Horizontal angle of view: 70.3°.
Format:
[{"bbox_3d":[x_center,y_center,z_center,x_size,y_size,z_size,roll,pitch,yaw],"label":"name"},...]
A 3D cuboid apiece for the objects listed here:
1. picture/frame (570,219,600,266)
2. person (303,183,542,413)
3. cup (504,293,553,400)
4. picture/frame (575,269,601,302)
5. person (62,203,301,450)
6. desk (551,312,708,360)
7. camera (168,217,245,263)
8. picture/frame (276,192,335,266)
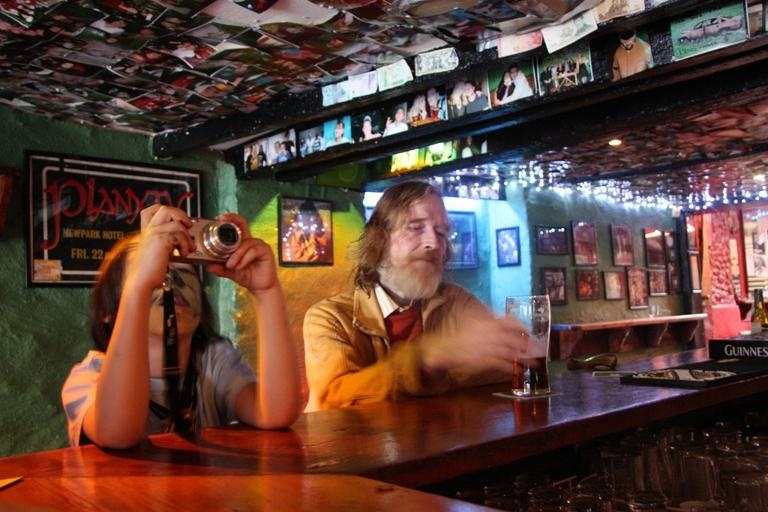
[{"bbox_3d":[3.070,-0.202,8.387,0.785,0.816,0.064,6,-14,-40],"label":"picture/frame"},{"bbox_3d":[0.071,0.329,2.887,0.985,1.023,1.336,0,-24,-23],"label":"person"},{"bbox_3d":[0.559,0.341,2.117,0.163,0.305,0.217,-2,-1,14],"label":"cup"},{"bbox_3d":[3.069,0.443,8.280,0.544,0.405,0.070,7,-14,-39],"label":"picture/frame"},{"bbox_3d":[-0.769,0.250,2.012,0.718,0.847,0.751,-1,-1,-29],"label":"person"},{"bbox_3d":[3.851,1.249,8.457,3.705,0.608,0.463,0,-1,-36],"label":"desk"},{"bbox_3d":[-0.568,-0.052,1.801,0.279,0.131,0.102,6,6,-28],"label":"camera"},{"bbox_3d":[-0.752,-0.234,5.213,0.075,0.609,0.698,2,2,37],"label":"picture/frame"}]
